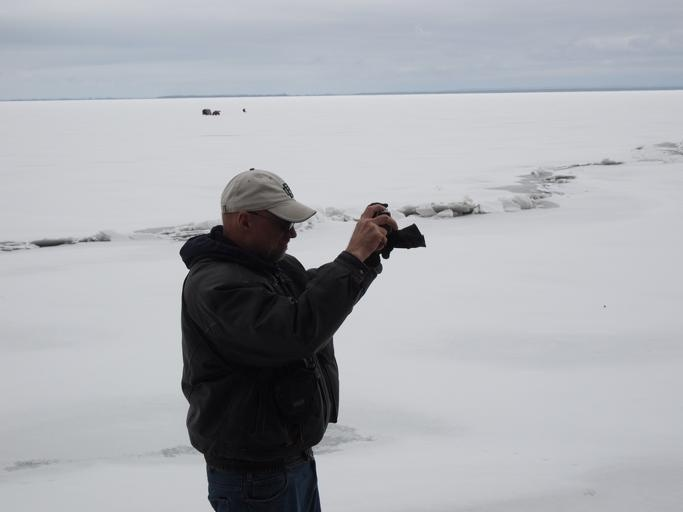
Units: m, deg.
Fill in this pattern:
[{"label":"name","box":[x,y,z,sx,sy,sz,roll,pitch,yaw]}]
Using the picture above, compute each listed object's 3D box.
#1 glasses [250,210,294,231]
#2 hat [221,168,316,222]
[{"label":"glasses","box":[-0.481,-0.216,6.055,0.214,0.047,0.180,17,0,-9]},{"label":"hat","box":[-0.525,-0.413,6.093,0.690,0.237,0.351,-2,8,1]}]
